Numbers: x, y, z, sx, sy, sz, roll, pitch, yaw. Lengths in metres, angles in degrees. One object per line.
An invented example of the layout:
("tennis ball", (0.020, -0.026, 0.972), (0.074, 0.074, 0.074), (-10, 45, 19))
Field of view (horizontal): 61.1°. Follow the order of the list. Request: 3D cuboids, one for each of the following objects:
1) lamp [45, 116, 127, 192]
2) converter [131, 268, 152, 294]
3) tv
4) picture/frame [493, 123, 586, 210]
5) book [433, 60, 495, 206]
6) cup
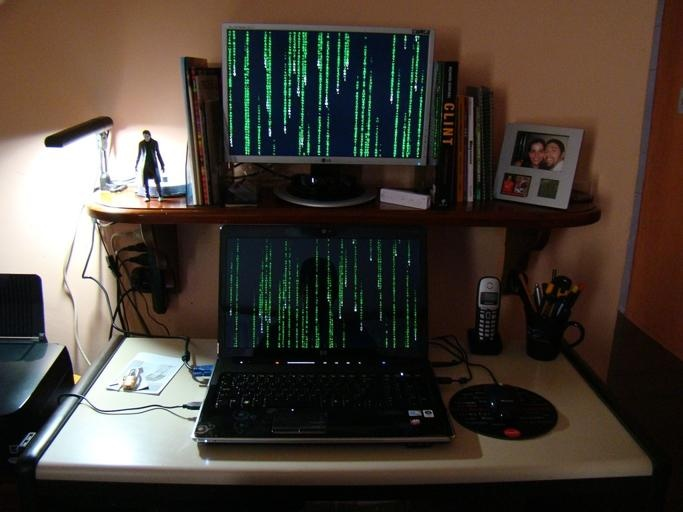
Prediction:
("lamp", (-0.762, -0.301, 1.769), (0.146, 0.231, 0.305), (-3, 18, -6))
("converter", (-0.686, 0.085, 1.987), (0.066, 0.084, 0.087), (0, 3, -6))
("tv", (-0.049, -0.445, 1.747), (0.544, 0.410, 0.235), (1, 22, -1))
("picture/frame", (0.615, -0.278, 1.806), (0.257, 0.256, 0.025), (9, 1, 23))
("book", (0.370, -0.367, 1.772), (0.212, 0.377, 0.389), (-2, 14, 1))
("cup", (0.695, 0.251, 1.877), (0.184, 0.162, 0.120), (5, 5, 33))
